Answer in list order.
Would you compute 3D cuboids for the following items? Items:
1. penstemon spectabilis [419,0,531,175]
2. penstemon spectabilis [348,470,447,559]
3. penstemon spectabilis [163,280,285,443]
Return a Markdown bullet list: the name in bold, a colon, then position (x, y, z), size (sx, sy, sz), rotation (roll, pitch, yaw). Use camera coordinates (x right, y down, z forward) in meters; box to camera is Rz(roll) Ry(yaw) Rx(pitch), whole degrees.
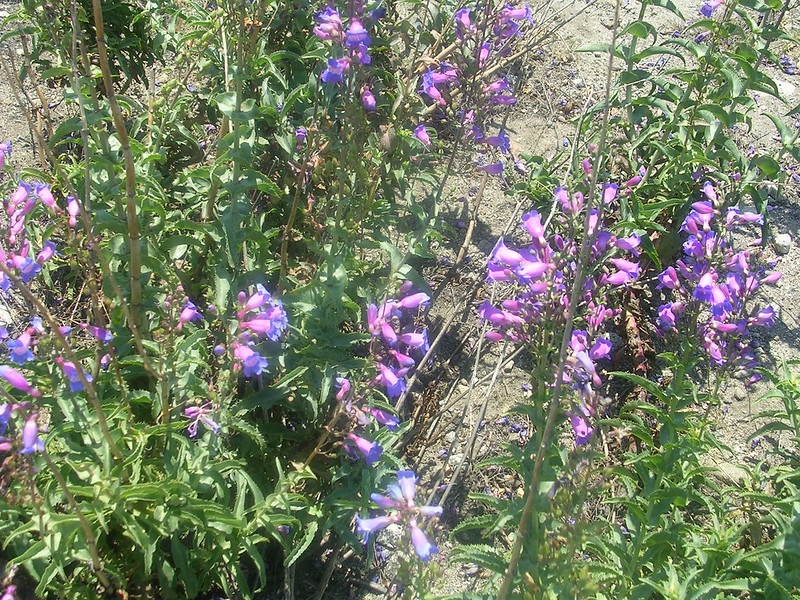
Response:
- **penstemon spectabilis**: position (0.486, -1.448, 5.385), size (0.615, 0.709, 1.316), rotation (17, -21, 3)
- **penstemon spectabilis**: position (0.017, 0.942, 3.424), size (0.417, 0.172, 0.427), rotation (35, -2, 10)
- **penstemon spectabilis**: position (-0.886, 0.314, 3.947), size (0.339, 0.783, 0.343), rotation (11, 43, -27)
